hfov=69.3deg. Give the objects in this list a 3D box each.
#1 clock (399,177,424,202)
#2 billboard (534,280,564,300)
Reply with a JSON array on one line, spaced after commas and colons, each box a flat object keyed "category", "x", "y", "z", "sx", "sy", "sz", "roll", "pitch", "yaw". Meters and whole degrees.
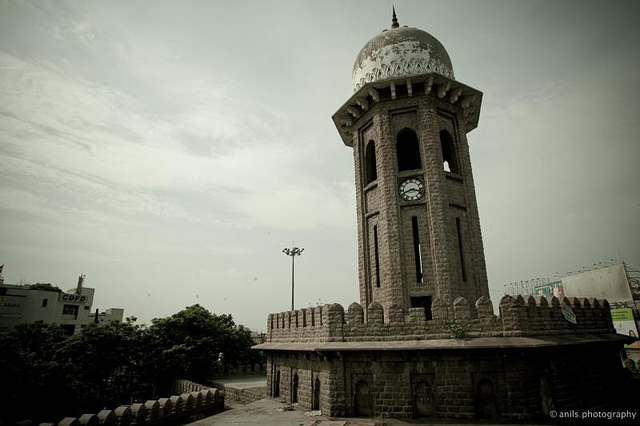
[{"category": "clock", "x": 6.989, "y": -1.775, "z": 35.299, "sx": 1.788, "sy": 1.771, "sz": 1.797, "roll": -12, "pitch": 2, "yaw": 12}, {"category": "billboard", "x": 34.086, "y": 11.406, "z": 69.092, "sx": 2.442, "sy": 3.471, "sz": 7.567, "roll": -3, "pitch": 4, "yaw": 13}]
